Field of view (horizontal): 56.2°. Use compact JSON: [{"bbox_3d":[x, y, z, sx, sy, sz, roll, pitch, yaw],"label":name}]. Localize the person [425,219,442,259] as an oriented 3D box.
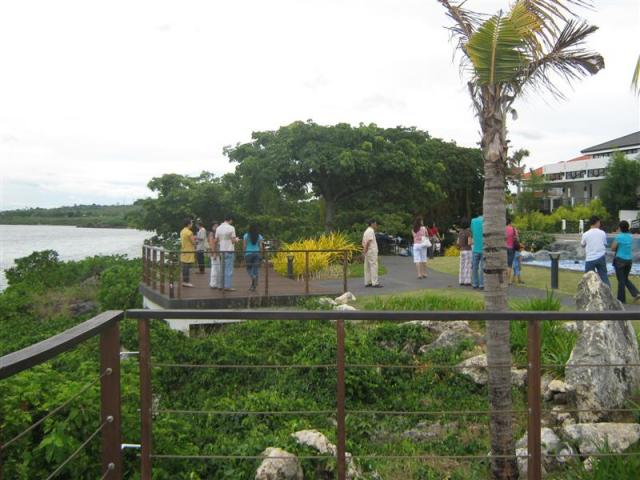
[{"bbox_3d":[6.706,-0.055,35.440,0.664,2.601,1.324,5,34,25],"label":"person"}]
